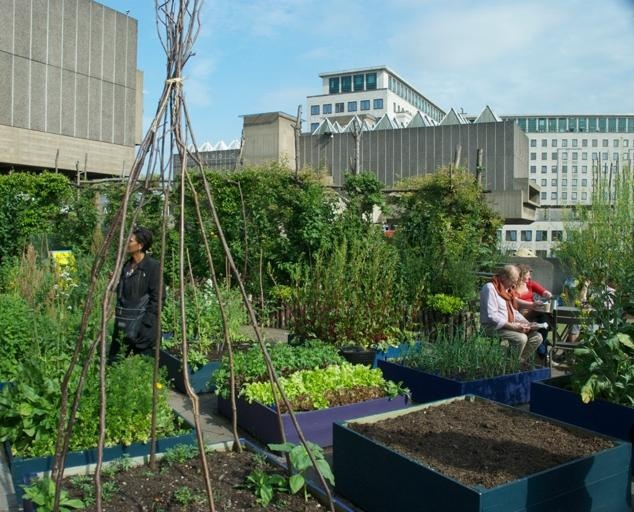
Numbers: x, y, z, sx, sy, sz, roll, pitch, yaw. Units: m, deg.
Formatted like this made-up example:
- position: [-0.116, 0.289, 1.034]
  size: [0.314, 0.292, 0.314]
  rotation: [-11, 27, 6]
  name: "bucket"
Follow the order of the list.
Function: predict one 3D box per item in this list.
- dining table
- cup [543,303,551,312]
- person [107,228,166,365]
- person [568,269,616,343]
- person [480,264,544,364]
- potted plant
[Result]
- position: [2.977, 0.940, 9.059]
  size: [0.689, 0.905, 0.672]
  rotation: [1, 2, -32]
  name: "dining table"
- position: [2.832, 0.641, 8.882]
  size: [0.114, 0.128, 0.085]
  rotation: [-1, -1, 10]
  name: "cup"
- position: [-1.790, 0.382, 7.114]
  size: [0.480, 1.304, 0.416]
  rotation: [0, 2, -22]
  name: "person"
- position: [2.607, 0.464, 6.817]
  size: [0.259, 0.528, 1.295]
  rotation: [8, 26, 20]
  name: "person"
- position: [2.211, 0.683, 8.278]
  size: [0.893, 1.114, 0.662]
  rotation: [0, 3, -34]
  name: "person"
- position: [0.433, 0.452, 8.588]
  size: [1.497, 1.485, 1.163]
  rotation: [1, 2, -4]
  name: "potted plant"
